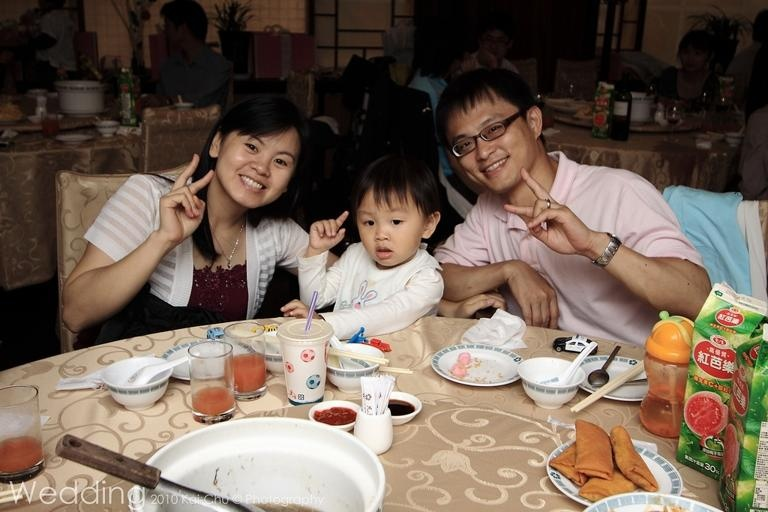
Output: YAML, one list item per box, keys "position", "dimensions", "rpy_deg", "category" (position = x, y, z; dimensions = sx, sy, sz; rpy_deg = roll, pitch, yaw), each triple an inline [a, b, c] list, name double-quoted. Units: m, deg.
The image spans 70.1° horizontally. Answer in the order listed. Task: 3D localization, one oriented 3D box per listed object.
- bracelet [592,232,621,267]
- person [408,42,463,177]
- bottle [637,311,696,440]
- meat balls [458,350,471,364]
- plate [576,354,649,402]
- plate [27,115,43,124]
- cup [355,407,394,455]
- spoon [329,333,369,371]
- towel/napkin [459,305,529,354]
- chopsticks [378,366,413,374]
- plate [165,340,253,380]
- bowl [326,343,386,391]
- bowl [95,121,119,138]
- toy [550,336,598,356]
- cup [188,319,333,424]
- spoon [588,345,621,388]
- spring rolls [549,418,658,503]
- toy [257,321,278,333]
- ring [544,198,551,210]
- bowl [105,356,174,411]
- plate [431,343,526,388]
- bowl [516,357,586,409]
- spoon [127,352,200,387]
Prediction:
- position: [0.726, -0.015, 1.780]
  dimensions: [0.045, 0.103, 0.094]
  rpy_deg: [20, 7, 8]
  category: "bracelet"
- position: [0.413, -1.131, 4.396]
  dimensions: [0.367, 1.282, 0.373]
  rpy_deg: [-26, 45, -24]
  category: "person"
- position: [0.687, 0.287, 1.346]
  dimensions: [0.104, 0.306, 0.088]
  rpy_deg: [10, 19, 26]
  category: "bottle"
- position: [0.235, 0.298, 1.635]
  dimensions: [0.029, 0.022, 0.029]
  rpy_deg: [-4, 22, 2]
  category: "meat balls"
- position: [0.646, 0.341, 1.552]
  dimensions: [0.168, 0.097, 0.163]
  rpy_deg: [-6, 14, -7]
  category: "plate"
- position: [-2.493, -0.963, 3.926]
  dimensions: [0.077, 0.030, 0.077]
  rpy_deg: [1, 4, -7]
  category: "plate"
- position: [-0.026, 0.397, 1.283]
  dimensions: [0.095, 0.093, 0.096]
  rpy_deg: [1, 2, 0]
  category: "cup"
- position: [-0.125, 0.268, 1.571]
  dimensions: [0.068, 0.041, 0.101]
  rpy_deg: [12, 22, -18]
  category: "spoon"
- position: [0.354, 0.222, 1.785]
  dimensions: [0.191, 0.123, 0.150]
  rpy_deg: [-13, 22, -37]
  category: "towel/napkin"
- position: [0.026, 0.326, 1.572]
  dimensions: [0.122, 0.018, 0.018]
  rpy_deg: [5, 15, 1]
  category: "chopsticks"
- position: [-0.456, 0.275, 1.441]
  dimensions: [0.147, 0.070, 0.146]
  rpy_deg: [-12, 17, -43]
  category: "plate"
- position: [-0.097, 0.299, 1.546]
  dimensions: [0.165, 0.110, 0.186]
  rpy_deg: [-5, 17, -31]
  category: "bowl"
- position: [-1.915, -0.887, 3.793]
  dimensions: [0.121, 0.080, 0.123]
  rpy_deg: [2, 31, -1]
  category: "bowl"
- position: [0.580, 0.265, 1.686]
  dimensions: [0.094, 0.035, 0.061]
  rpy_deg: [4, 10, 20]
  category: "toy"
- position: [-0.325, 0.291, 1.488]
  dimensions: [0.337, 0.162, 0.233]
  rpy_deg: [-1, 9, -12]
  category: "cup"
- position: [0.624, 0.318, 1.562]
  dimensions: [0.046, 0.025, 0.210]
  rpy_deg: [24, 24, 25]
  category: "spoon"
- position: [0.487, 0.443, 1.196]
  dimensions: [0.150, 0.048, 0.155]
  rpy_deg: [12, 38, -9]
  category: "spring rolls"
- position: [-0.365, 0.216, 1.703]
  dimensions: [0.067, 0.019, 0.050]
  rpy_deg: [-1, 8, -16]
  category: "toy"
- position: [0.529, -0.172, 1.789]
  dimensions: [0.011, 0.032, 0.024]
  rpy_deg: [5, -1, -9]
  category: "ring"
- position: [-0.634, 0.310, 1.460]
  dimensions: [0.150, 0.125, 0.138]
  rpy_deg: [1, 16, 0]
  category: "bowl"
- position: [0.276, 0.322, 1.607]
  dimensions: [0.260, 0.030, 0.261]
  rpy_deg: [12, 20, 34]
  category: "plate"
- position: [0.462, 0.320, 1.508]
  dimensions: [0.173, 0.121, 0.163]
  rpy_deg: [3, 14, -1]
  category: "bowl"
- position: [-0.582, 0.285, 1.481]
  dimensions: [0.071, 0.036, 0.236]
  rpy_deg: [11, 21, 23]
  category: "spoon"
